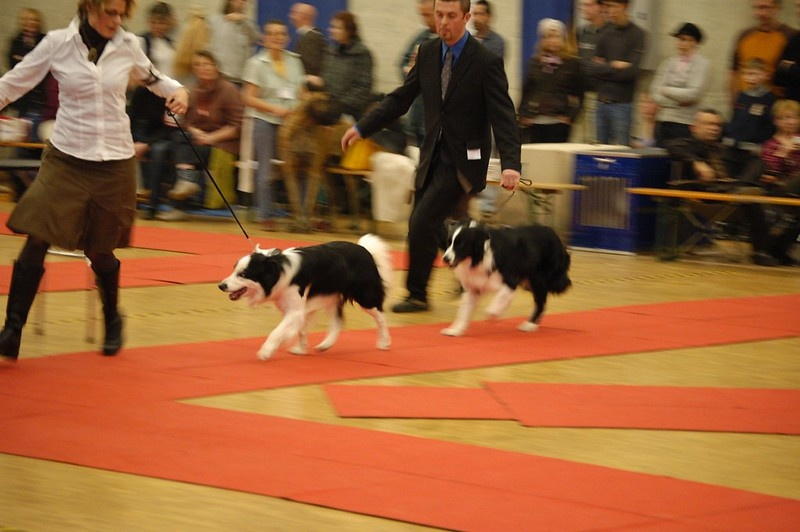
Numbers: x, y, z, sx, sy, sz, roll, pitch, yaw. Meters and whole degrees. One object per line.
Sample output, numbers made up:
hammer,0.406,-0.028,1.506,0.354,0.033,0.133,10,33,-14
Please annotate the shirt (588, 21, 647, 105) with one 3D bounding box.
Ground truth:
shirt,2.832,-2.687,8.817,0.591,0.972,0.749,-32,41,-23

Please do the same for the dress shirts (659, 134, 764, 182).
dress shirts,3.799,-1.302,8.182,0.643,0.239,0.780,6,-1,-33

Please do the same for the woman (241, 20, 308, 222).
woman,-1.579,-1.901,9.113,1.074,2.583,0.915,-2,7,-24

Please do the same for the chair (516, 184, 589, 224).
chair,1.884,-0.829,8.577,0.730,0.578,0.677,-3,7,-26

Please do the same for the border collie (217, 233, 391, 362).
border collie,-0.617,0.236,4.708,1.469,0.736,0.477,1,1,-45

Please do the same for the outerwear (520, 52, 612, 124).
outerwear,1.967,-2.387,9.104,1.055,0.875,0.529,8,19,5

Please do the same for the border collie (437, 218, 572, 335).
border collie,0.880,0.089,5.416,1.458,0.837,0.442,-1,0,-30

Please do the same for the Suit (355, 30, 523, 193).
Suit,0.424,-1.256,5.575,1.285,1.265,0.426,6,7,21

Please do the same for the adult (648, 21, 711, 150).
adult,3.674,-2.000,8.843,0.723,2.158,0.719,-2,24,8
